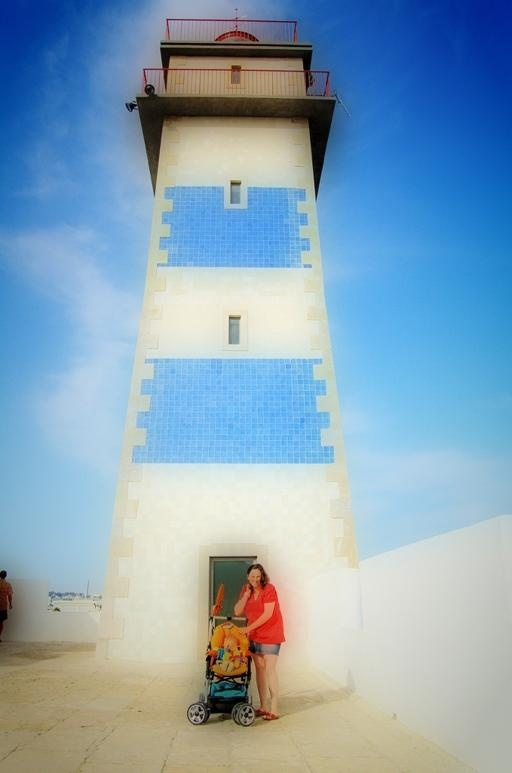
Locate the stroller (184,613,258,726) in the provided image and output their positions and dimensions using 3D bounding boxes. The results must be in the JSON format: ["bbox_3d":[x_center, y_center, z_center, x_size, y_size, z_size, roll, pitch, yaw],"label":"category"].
[{"bbox_3d":[-0.278,2.546,4.881,0.606,0.831,0.693,-4,-13,30],"label":"stroller"}]

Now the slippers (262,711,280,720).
[{"bbox_3d":[0.151,3.091,5.024,0.175,0.078,0.120,6,-14,-10],"label":"slippers"}]

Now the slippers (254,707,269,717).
[{"bbox_3d":[0.062,3.062,5.026,0.103,0.086,0.289,-1,-26,2],"label":"slippers"}]
